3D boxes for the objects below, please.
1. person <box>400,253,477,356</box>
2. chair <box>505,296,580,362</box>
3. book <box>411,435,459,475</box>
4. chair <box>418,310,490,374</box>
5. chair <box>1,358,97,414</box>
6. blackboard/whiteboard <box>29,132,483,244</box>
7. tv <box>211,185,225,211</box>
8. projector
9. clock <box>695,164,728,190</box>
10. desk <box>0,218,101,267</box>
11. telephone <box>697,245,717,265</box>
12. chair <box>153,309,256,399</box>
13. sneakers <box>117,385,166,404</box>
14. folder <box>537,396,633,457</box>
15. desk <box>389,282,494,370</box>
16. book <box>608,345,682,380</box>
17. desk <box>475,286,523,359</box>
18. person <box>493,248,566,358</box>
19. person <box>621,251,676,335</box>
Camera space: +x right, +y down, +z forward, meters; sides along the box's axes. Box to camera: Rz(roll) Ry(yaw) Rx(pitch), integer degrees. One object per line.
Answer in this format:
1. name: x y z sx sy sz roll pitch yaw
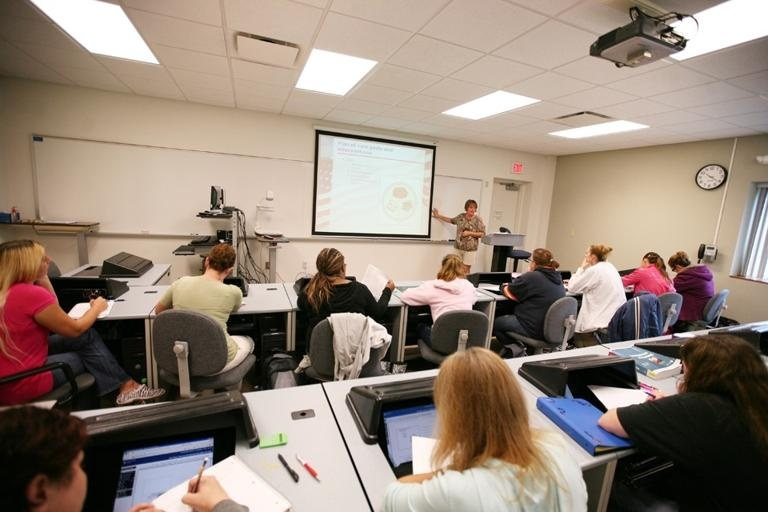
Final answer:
1. person: 0.616 0.600 4.964 0.670 1.241 0.734 2 -2 41
2. chair: 1.682 0.672 5.047 0.533 0.730 0.644 -3 9 -30
3. book: 0.264 1.207 2.983 0.260 0.059 0.239 12 48 -22
4. chair: 0.621 0.710 4.539 0.502 0.634 0.533 -2 14 -12
5. chair: -2.477 0.961 3.684 0.400 0.509 0.481 8 14 43
6. blackboard/whiteboard: -2.687 -0.843 6.374 3.151 1.173 0.110 0 8 -20
7. tv: -2.050 -0.709 6.025 0.213 0.293 0.398 1 0 -12
8. projector: 1.965 -1.569 3.792 0.482 0.201 0.521 7 -13 -29
9. clock: 4.295 -1.037 6.419 0.047 0.350 0.348 9 1 -26
10. desk: -3.872 -0.028 5.827 0.982 0.691 0.540 -1 13 -15
11. telephone: 4.195 -0.019 6.404 0.242 0.282 0.206 1 8 -2
12. chair: -1.413 0.695 4.118 0.675 0.893 0.767 1 15 0
13. sneakers: -2.015 1.139 4.069 0.323 0.126 0.165 -4 4 -33
14. folder: 1.305 1.100 3.267 0.347 0.089 0.357 -5 20 -21
15. desk: 0.658 0.468 4.885 1.109 1.034 0.814 -1 5 -20
16. book: 2.097 0.836 3.834 0.323 0.095 0.327 -8 14 -27
17. desk: 1.126 0.635 4.829 0.374 0.508 0.689 -7 13 -34
18. person: 1.522 0.596 5.148 0.580 1.342 0.740 2 4 -35
19. person: 2.974 0.283 5.612 0.573 0.944 0.576 4 8 0
